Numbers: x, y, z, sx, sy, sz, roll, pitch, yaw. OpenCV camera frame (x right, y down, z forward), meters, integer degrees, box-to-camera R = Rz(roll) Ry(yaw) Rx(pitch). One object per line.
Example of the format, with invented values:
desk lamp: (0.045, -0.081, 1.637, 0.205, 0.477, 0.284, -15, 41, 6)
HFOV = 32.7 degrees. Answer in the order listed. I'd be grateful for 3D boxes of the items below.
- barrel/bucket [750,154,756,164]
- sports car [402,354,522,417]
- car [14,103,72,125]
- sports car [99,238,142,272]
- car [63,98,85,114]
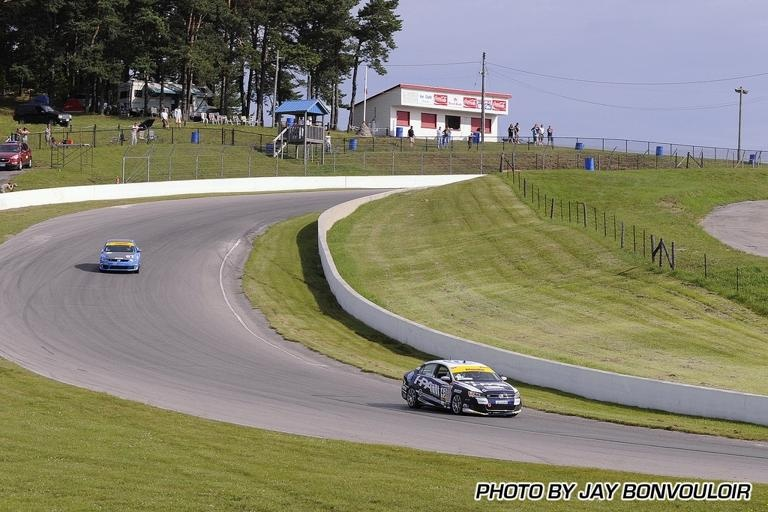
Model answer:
barrel/bucket: (35.240, -9.147, 124.321, 0.412, 0.798, 1.108, 4, 6, -2)
sports car: (4.002, 6.572, 66.450, 3.580, 2.092, 6.845, 0, 2, -36)
car: (-31.075, -12.978, 119.300, 5.034, 1.714, 2.117, 0, 13, -2)
sports car: (-16.146, -0.287, 80.631, 2.421, 1.426, 3.802, 1, 16, -7)
car: (-33.161, -15.949, 140.148, 2.314, 1.314, 2.168, 3, 9, 21)
